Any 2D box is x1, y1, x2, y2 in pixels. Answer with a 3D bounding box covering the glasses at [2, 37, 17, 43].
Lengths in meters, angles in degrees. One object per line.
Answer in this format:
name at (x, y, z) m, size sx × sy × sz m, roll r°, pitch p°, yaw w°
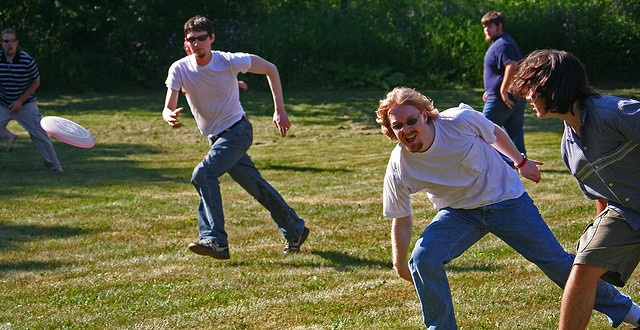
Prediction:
glasses at (-9.610, -3.808, 29.063) m, size 0.443 × 0.173 × 0.179 m, roll -4°, pitch 12°, yaw -16°
